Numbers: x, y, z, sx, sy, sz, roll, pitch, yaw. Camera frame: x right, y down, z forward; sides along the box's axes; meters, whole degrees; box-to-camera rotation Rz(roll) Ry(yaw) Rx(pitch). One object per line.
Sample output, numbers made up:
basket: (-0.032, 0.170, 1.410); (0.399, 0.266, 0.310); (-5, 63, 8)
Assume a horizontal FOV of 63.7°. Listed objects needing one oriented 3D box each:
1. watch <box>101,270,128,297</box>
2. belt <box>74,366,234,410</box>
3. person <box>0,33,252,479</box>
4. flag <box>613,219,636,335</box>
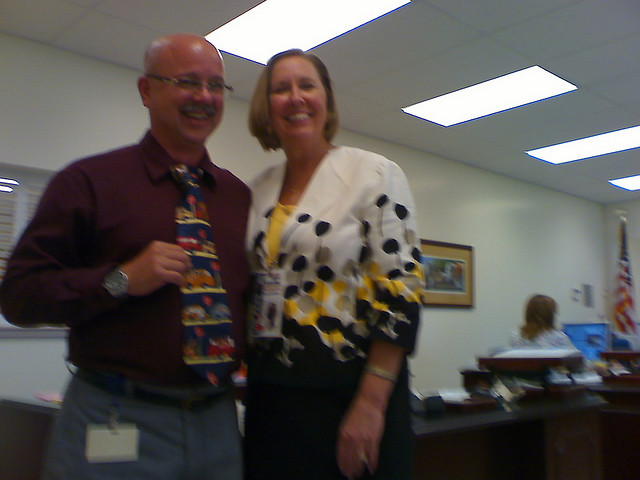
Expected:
watch: (-0.609, 0.129, 1.536); (0.072, 0.076, 0.016); (2, -6, 6)
belt: (-0.514, 0.462, 1.616); (0.482, 0.127, 0.102); (4, -7, -17)
person: (-0.587, 0.031, 1.682); (0.777, 1.492, 0.321); (4, -7, -15)
flag: (4.251, 0.518, 7.231); (0.242, 1.585, 0.803); (-2, -7, 30)
